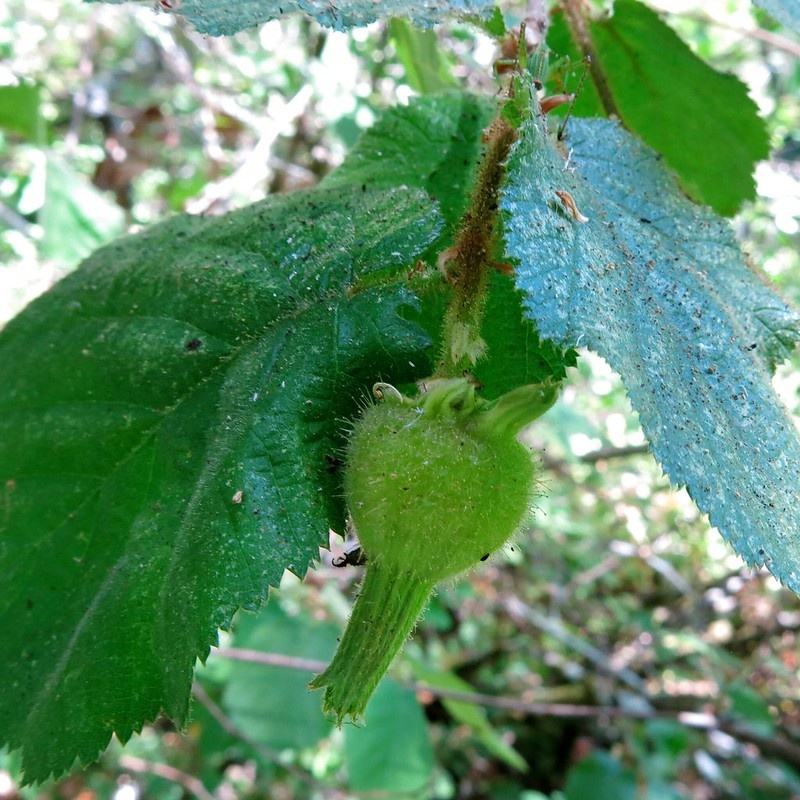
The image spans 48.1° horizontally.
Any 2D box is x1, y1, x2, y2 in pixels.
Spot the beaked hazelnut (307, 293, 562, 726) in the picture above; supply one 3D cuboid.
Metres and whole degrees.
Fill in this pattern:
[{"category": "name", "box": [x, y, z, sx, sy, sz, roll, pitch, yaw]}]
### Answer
[{"category": "beaked hazelnut", "box": [0.050, 0.160, 1.313, 0.259, 0.214, 0.538, 22, 90, 29]}]
